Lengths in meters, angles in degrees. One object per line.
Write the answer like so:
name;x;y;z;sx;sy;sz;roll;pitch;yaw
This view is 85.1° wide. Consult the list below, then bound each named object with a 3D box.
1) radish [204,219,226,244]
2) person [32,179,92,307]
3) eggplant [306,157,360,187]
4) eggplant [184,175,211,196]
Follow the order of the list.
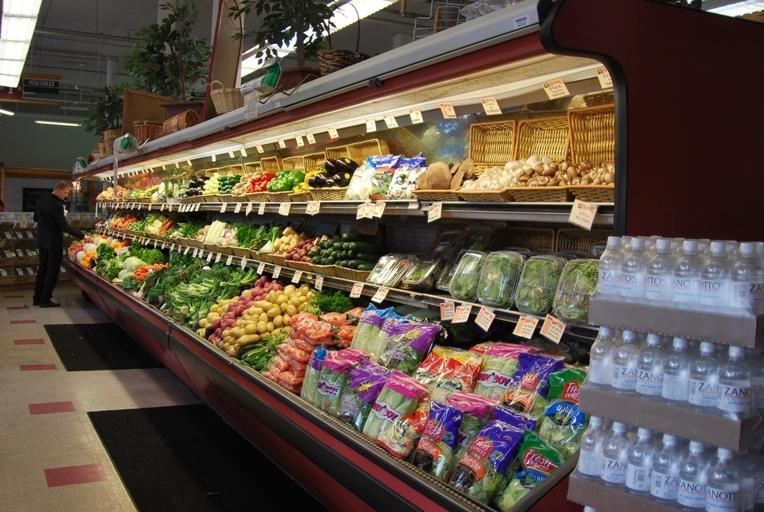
radish;-2.165;-0.271;5.442;0.256;0.377;0.126;-7;-39;18
person;-6.536;-0.267;8.264;0.833;2.340;1.042;-6;12;-35
eggplant;-0.435;-0.742;3.680;0.355;0.136;0.345;-14;29;24
eggplant;-2.667;-1.002;6.014;0.310;0.165;0.389;-25;12;3
